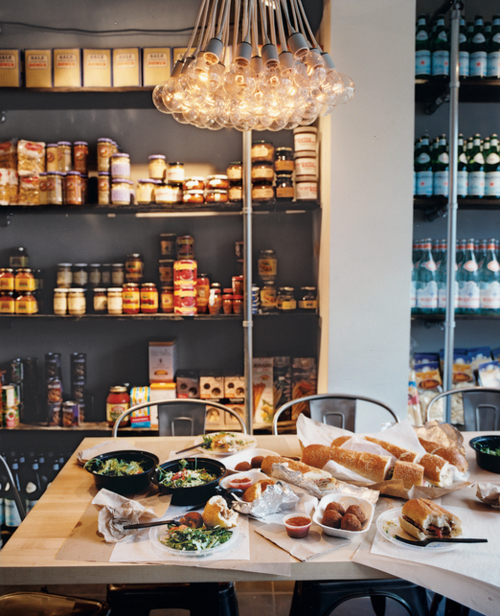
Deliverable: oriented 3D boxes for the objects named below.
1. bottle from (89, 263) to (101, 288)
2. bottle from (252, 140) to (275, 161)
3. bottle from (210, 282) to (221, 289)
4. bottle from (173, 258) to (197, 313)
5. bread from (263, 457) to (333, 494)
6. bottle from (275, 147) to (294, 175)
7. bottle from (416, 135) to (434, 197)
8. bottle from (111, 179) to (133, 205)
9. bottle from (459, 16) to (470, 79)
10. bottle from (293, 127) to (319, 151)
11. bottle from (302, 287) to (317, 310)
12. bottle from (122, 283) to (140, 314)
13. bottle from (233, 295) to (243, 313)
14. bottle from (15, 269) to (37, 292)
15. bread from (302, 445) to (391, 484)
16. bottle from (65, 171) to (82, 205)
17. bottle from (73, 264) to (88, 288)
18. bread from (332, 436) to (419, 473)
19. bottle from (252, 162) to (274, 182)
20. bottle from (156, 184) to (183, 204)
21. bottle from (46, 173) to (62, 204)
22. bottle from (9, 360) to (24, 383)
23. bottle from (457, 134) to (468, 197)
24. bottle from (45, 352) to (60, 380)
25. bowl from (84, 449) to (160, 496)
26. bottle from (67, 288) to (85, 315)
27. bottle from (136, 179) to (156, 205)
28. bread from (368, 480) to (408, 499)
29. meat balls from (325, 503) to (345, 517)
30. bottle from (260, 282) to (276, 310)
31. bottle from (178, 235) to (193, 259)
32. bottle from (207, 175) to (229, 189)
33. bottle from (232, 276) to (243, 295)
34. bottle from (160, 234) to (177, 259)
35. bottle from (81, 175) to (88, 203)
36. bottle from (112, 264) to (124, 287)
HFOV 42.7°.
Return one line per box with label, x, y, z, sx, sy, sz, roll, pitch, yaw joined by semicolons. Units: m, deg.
bottle;-0.707;-0.145;2.907;0.053;0.077;0.039;-3;2;-14
bottle;0.053;-0.660;2.726;0.100;0.082;0.055;-3;2;-7
bottle;-0.161;-0.102;2.862;0.027;0.027;0.033;-1;-10;12
bottle;-0.300;-0.086;2.806;0.122;0.243;0.060;-2;2;32
bread;0.112;0.412;1.598;0.116;0.032;0.083;21;5;41
bottle;0.143;-0.631;2.754;0.115;0.136;0.104;0;5;0
bottle;0.766;-0.626;2.841;0.077;0.272;0.080;-3;2;0
bottle;-0.553;-0.495;2.732;0.106;0.091;0.099;0;1;-3
bottle;0.918;-1.122;2.760;0.045;0.276;0.119;-2;2;19
bottle;0.233;-0.718;2.774;0.113;0.103;0.105;-1;0;-8
bottle;0.252;-0.046;2.818;0.096;0.094;0.089;1;-5;-2
bottle;-0.527;-0.039;2.810;0.080;0.094;0.046;-3;2;-10
bottle;-0.057;-0.016;2.829;0.043;0.091;0.034;-3;2;-4
bottle;-0.998;-0.120;2.822;0.106;0.127;0.101;0;-3;0
bread;0.248;0.389;1.632;0.231;0.063;0.075;7;8;31
bottle;-0.755;-0.511;2.734;0.079;0.102;0.044;-3;2;-14
bottle;-0.774;-0.146;2.915;0.072;0.079;0.059;-3;2;-15
bread;0.327;0.373;1.686;0.162;0.043;0.075;14;7;16
bottle;0.051;-0.577;2.714;0.080;0.064;0.078;-4;6;-36
bottle;-0.356;-0.484;2.735;0.097;0.062;0.091;0;1;0
bottle;-0.834;-0.505;2.727;0.067;0.096;0.035;-3;2;-14
bottle;-1.090;0.300;2.974;0.049;0.091;0.078;-3;2;-1
bottle;0.937;-0.626;2.833;0.046;0.278;0.145;-2;2;20
bottle;-0.910;0.270;2.945;0.063;0.094;0.080;-4;2;-18
bowl;-0.312;0.412;1.613;0.123;0.042;0.118;2;5;0
bottle;-0.772;-0.025;2.827;0.080;0.092;0.076;-3;2;-14
bottle;-0.457;-0.495;2.742;0.106;0.090;0.100;0;1;-2
bread;0.335;0.445;1.577;0.091;0.029;0.047;10;-2;-6
meat balls;0.190;0.450;1.428;0.032;0.029;0.035;1;9;2
bottle;0.079;-0.052;2.862;0.077;0.126;0.056;-3;2;2
bottle;-0.301;-0.268;2.856;0.076;0.101;0.061;-2;2;11
bottle;-0.141;-0.538;2.745;0.075;0.040;0.070;0;-1;0
bottle;-0.060;-0.099;2.850;0.060;0.081;0.047;-2;2;18
bottle;-0.381;-0.282;2.958;0.069;0.073;0.087;-3;2;-3
bottle;-0.721;-0.514;2.768;0.013;0.090;0.049;-3;2;9
bottle;-0.594;-0.145;2.866;0.058;0.073;0.082;-3;2;-15
